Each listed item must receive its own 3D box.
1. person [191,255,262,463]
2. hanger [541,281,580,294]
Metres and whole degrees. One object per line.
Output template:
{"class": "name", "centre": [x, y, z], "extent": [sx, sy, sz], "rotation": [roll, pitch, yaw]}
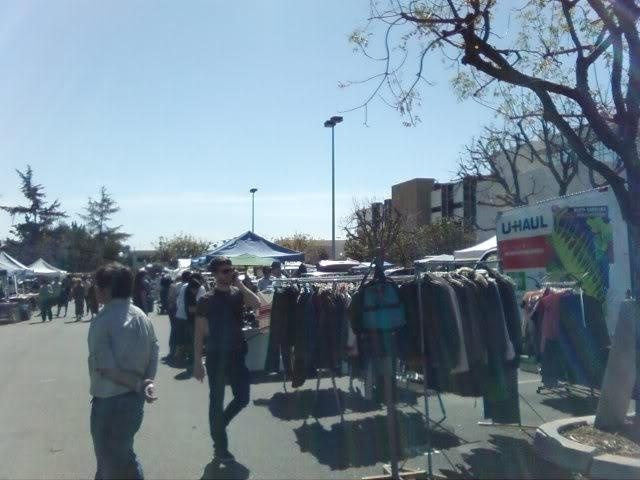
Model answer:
{"class": "person", "centre": [-1.377, 1.594, 7.872], "extent": [0.815, 2.625, 0.849], "rotation": [6, 1, -27]}
{"class": "hanger", "centre": [3.919, 0.753, 9.540], "extent": [0.411, 0.161, 0.780], "rotation": [-1, 1, 6]}
